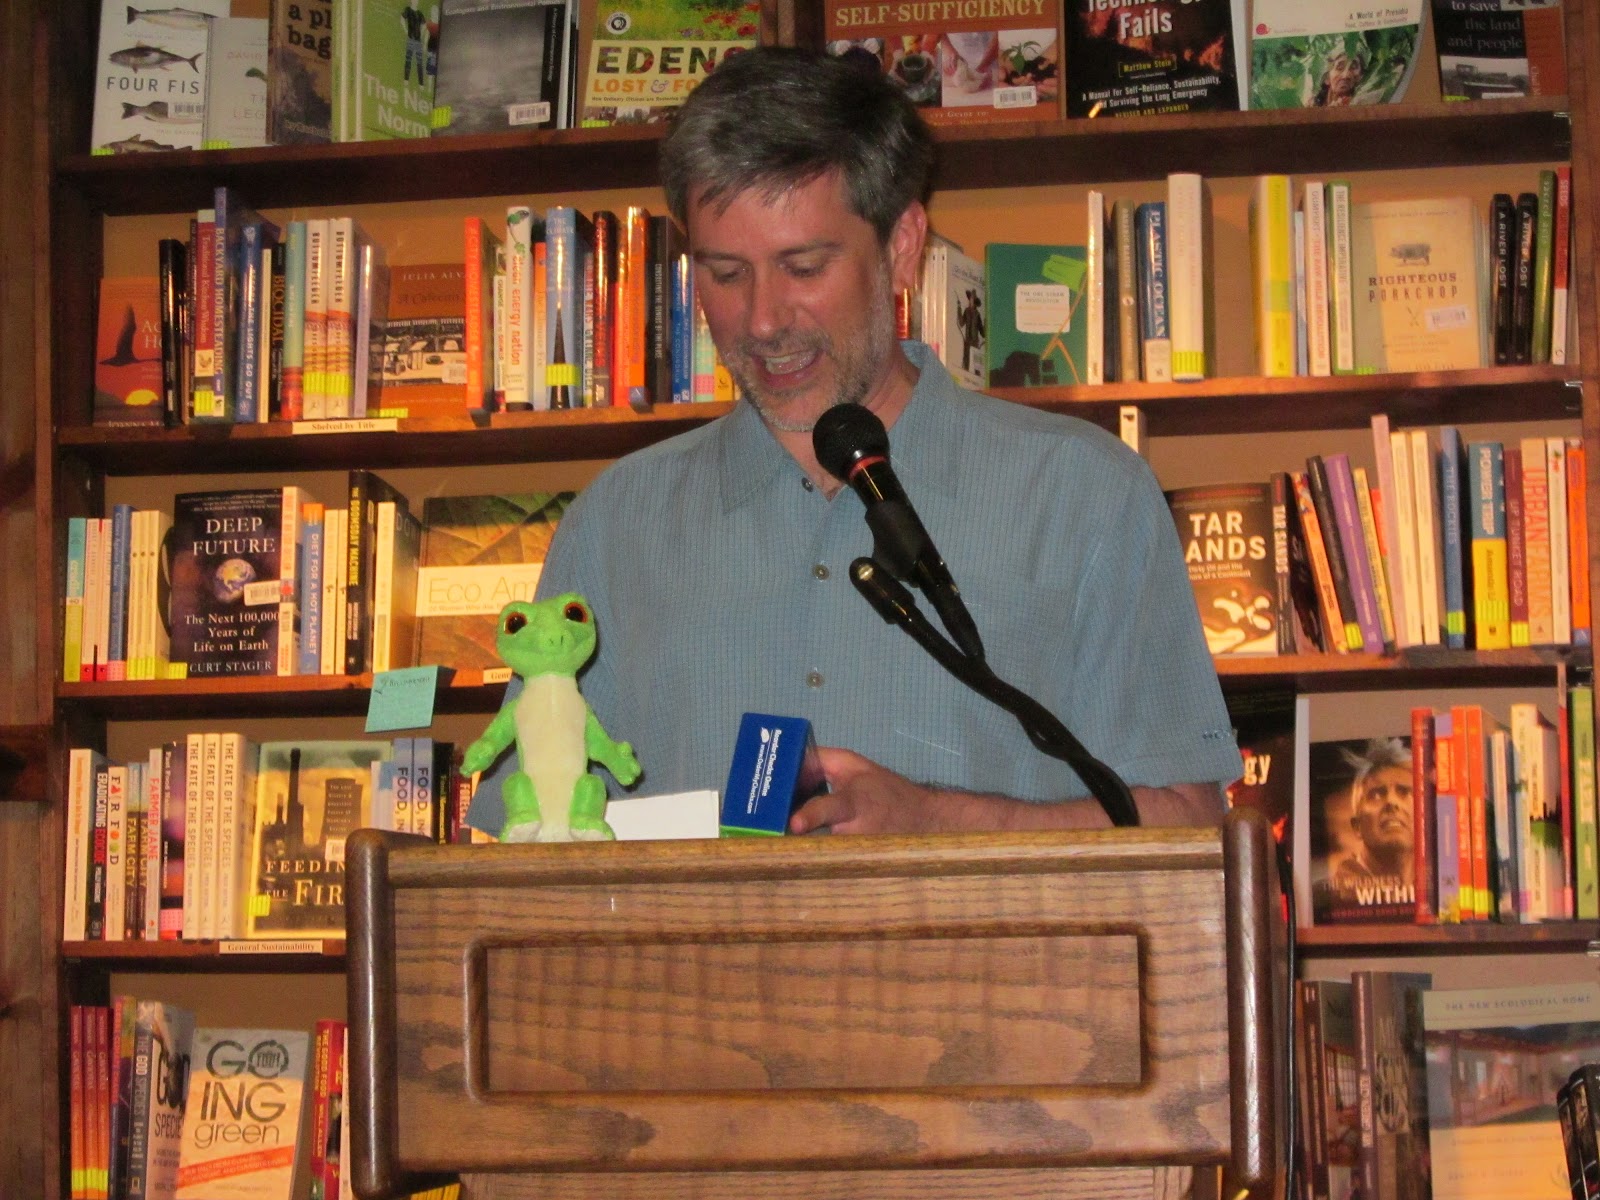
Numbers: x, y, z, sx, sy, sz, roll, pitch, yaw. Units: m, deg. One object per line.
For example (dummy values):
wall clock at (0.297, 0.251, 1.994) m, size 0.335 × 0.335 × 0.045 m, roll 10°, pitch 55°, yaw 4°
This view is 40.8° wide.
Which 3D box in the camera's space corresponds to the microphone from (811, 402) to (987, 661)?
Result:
microphone at (0.108, -0.089, 2.564) m, size 0.154 × 0.278 × 0.299 m, roll -4°, pitch 11°, yaw -7°
